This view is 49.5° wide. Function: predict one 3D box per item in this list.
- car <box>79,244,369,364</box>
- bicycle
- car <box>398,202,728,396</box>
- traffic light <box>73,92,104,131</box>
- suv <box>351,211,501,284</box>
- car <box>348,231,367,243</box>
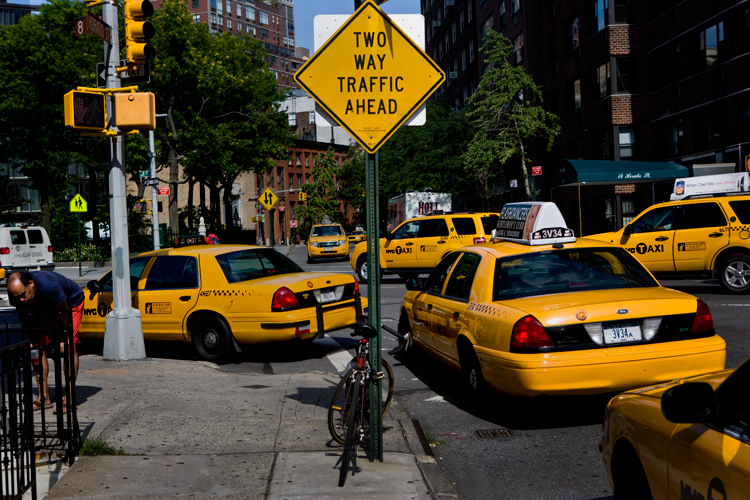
[{"bbox_3d":[-2.468,0.726,13.199,4.355,1.206,2.044,2,4,31],"label":"car"},{"bbox_3d":[-0.207,1.422,8.302,0.515,1.416,1.523,1,5,-5],"label":"bicycle"},{"bbox_3d":[1.862,0.556,10.532,2.272,1.622,3.882,-2,2,-18],"label":"car"},{"bbox_3d":[-4.245,-2.054,12.008,0.228,0.578,0.598,1,2,34],"label":"traffic light"},{"bbox_3d":[1.154,-0.044,23.512,4.001,1.681,1.975,0,3,22],"label":"suv"},{"bbox_3d":[-1.408,-0.938,60.662,1.092,0.661,2.023,-1,-1,13],"label":"car"}]
